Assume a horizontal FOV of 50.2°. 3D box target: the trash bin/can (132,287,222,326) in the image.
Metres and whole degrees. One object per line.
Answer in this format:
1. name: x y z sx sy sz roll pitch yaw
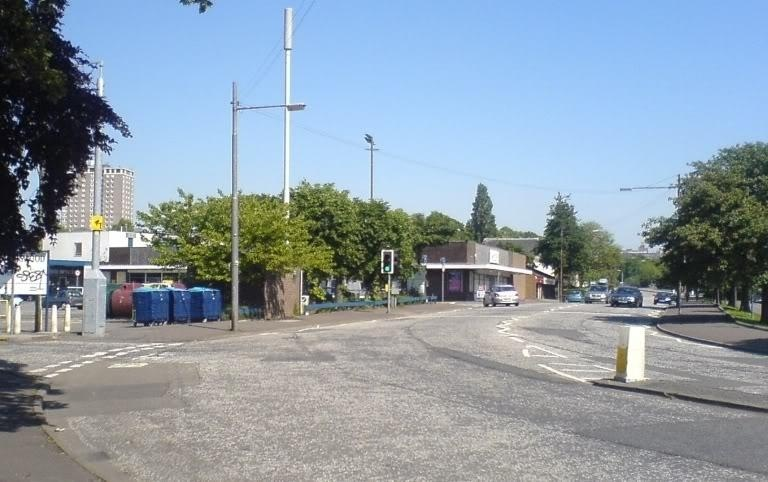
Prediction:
1. trash bin/can: -8.881 2.785 35.403 0.812 1.581 4.297 -4 -7 35

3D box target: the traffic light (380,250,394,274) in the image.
1. traffic light: 0.192 1.064 43.436 0.606 1.152 0.861 1 -5 -10

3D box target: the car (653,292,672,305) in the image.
1. car: 23.507 4.909 69.105 1.127 0.789 2.443 0 1 22

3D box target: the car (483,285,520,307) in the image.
1. car: 8.462 3.969 60.367 1.450 1.082 2.393 0 -10 -8

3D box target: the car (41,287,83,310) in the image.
1. car: -21.855 3.836 56.106 1.993 1.549 4.947 3 -7 -26
